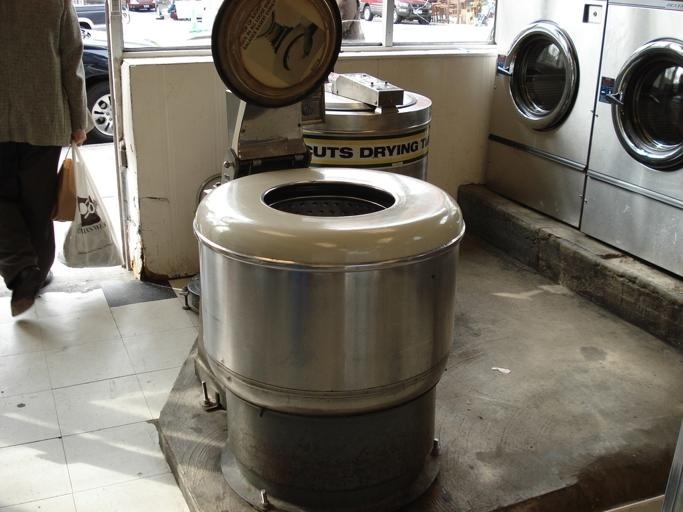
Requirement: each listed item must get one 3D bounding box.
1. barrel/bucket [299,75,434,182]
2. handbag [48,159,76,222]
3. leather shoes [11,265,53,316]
[{"bbox_3d":[0.061,-0.714,3.180,0.602,0.714,0.628,6,24,-3],"label":"barrel/bucket"},{"bbox_3d":[-1.789,-0.428,3.480,0.109,0.336,0.300,0,15,-22],"label":"handbag"},{"bbox_3d":[-1.925,0.214,3.358,0.116,0.098,0.287,-8,44,44],"label":"leather shoes"}]
